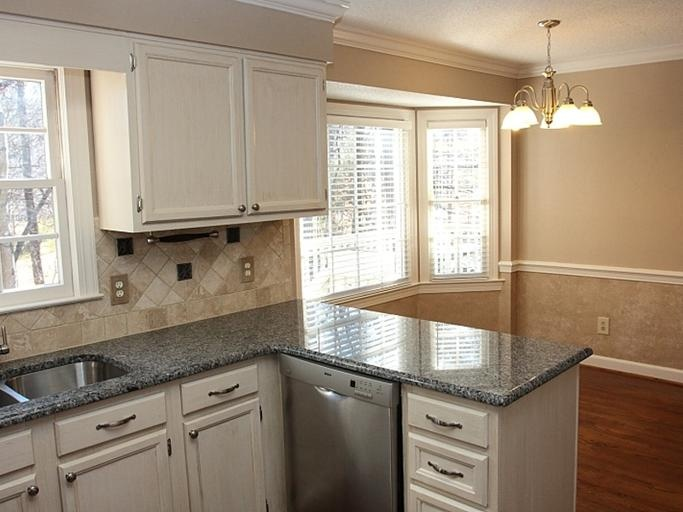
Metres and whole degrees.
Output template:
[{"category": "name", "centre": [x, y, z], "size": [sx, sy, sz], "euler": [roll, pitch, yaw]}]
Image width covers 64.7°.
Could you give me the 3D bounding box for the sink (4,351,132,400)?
[{"category": "sink", "centre": [-1.359, 0.606, 2.631], "size": [0.342, 0.126, 0.271], "euler": [-11, 19, -39]}]

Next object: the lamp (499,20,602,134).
[{"category": "lamp", "centre": [1.681, -1.448, 4.261], "size": [0.856, 0.926, 0.845], "euler": [-11, 12, -44]}]

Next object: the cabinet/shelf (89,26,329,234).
[{"category": "cabinet/shelf", "centre": [-0.697, -0.677, 3.145], "size": [0.498, 0.939, 1.340], "euler": [10, 14, 41]}]
